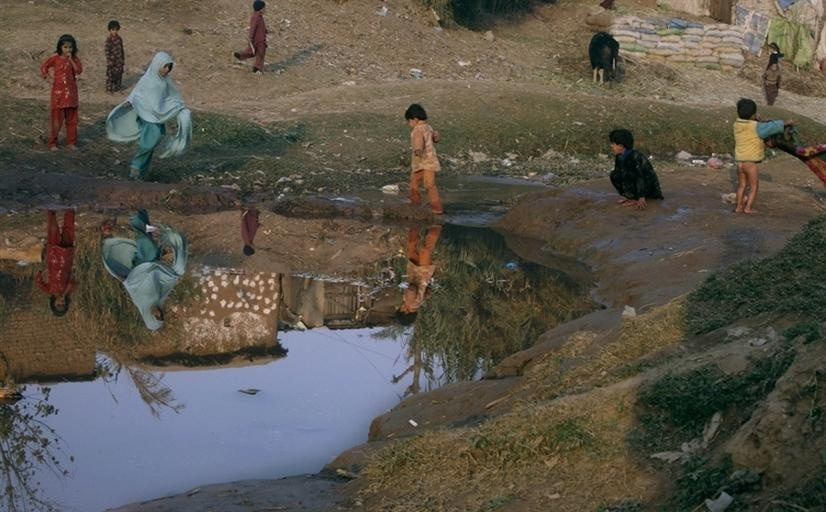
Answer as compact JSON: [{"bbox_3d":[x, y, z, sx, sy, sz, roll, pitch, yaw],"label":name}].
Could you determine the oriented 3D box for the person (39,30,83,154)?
[{"bbox_3d":[-7.905,-3.629,26.015,0.801,2.541,0.810,-1,15,-17],"label":"person"}]

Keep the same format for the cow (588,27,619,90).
[{"bbox_3d":[5.574,-5.628,33.351,0.568,0.983,1.925,1,28,7],"label":"cow"}]

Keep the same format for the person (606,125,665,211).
[{"bbox_3d":[4.548,-1.746,23.390,1.114,1.499,0.488,6,15,8],"label":"person"}]

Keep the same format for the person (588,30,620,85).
[{"bbox_3d":[5.575,-5.640,33.354,0.568,0.971,1.919,1,28,7],"label":"person"}]
